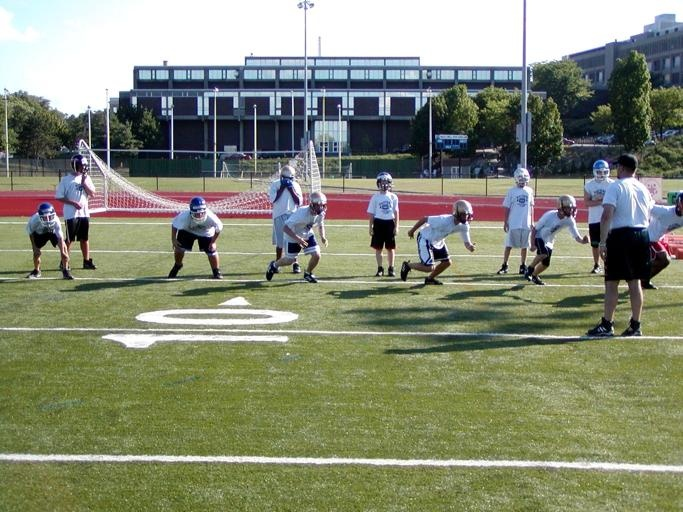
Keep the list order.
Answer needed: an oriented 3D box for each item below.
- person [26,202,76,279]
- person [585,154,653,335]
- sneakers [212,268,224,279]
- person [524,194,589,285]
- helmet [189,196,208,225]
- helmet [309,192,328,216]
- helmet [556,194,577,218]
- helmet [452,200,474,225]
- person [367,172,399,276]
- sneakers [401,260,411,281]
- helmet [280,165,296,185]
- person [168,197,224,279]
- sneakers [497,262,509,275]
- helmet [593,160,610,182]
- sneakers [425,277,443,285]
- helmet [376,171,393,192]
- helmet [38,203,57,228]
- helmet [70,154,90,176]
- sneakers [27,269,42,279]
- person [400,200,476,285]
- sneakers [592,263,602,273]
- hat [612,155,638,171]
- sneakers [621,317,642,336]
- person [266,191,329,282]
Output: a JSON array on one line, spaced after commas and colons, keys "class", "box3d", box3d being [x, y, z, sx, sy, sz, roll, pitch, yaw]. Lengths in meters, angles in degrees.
[{"class": "person", "box3d": [-4.474, -0.230, 14.168, 0.665, 1.145, 1.371, -1, 4, -19]}, {"class": "person", "box3d": [3.247, -0.119, 10.768, 0.627, 2.122, 0.812, 2, 4, 20]}, {"class": "sneakers", "box3d": [-1.929, 0.290, 14.320, 0.083, 0.112, 0.246, 0, -3, -21]}, {"class": "person", "box3d": [3.192, -0.236, 14.027, 0.802, 1.338, 0.620, 1, 4, 11]}, {"class": "helmet", "box3d": [-2.109, -0.690, 13.477, 0.254, 0.339, 0.336, -2, -36, -11]}, {"class": "helmet", "box3d": [-0.361, -0.760, 13.667, 0.234, 0.339, 0.562, 0, 4, -2]}, {"class": "helmet", "box3d": [3.358, -0.725, 13.851, 0.326, 0.343, 0.266, 0, 6, 22]}, {"class": "helmet", "box3d": [1.721, -0.621, 13.415, 0.255, 0.342, 0.329, -6, 12, -37]}, {"class": "person", "box3d": [0.639, -0.481, 14.585, 0.434, 1.620, 0.627, 1, 4, 1]}, {"class": "sneakers", "box3d": [0.949, 0.249, 14.058, 0.109, 0.335, 0.141, 0, 19, -4]}, {"class": "helmet", "box3d": [-0.905, -1.274, 14.806, 0.301, 0.314, 0.244, 6, 13, 32]}, {"class": "person", "box3d": [-2.181, -0.272, 13.999, 0.817, 1.267, 0.706, 6, 17, 16]}, {"class": "sneakers", "box3d": [2.623, 0.221, 15.175, 0.104, 0.218, 0.305, 5, 21, -3]}, {"class": "helmet", "box3d": [4.006, -1.322, 14.437, 0.277, 0.347, 0.353, -5, 14, -14]}, {"class": "sneakers", "box3d": [1.395, 0.382, 14.021, 0.294, 0.130, 0.110, 1, 4, 1]}, {"class": "helmet", "box3d": [0.647, -1.158, 14.444, 0.281, 0.326, 0.375, 0, -5, -1]}, {"class": "helmet", "box3d": [-4.340, -0.594, 13.575, 0.231, 0.306, 0.328, 0, 42, -33]}, {"class": "helmet", "box3d": [-4.205, -1.449, 14.824, 0.371, 0.379, 0.290, -12, 22, -43]}, {"class": "sneakers", "box3d": [-4.693, 0.287, 14.141, 0.096, 0.124, 0.268, 8, 1, -8]}, {"class": "person", "box3d": [1.393, -0.188, 13.824, 0.827, 1.261, 1.302, 0, 4, -17]}, {"class": "sneakers", "box3d": [4.167, 0.227, 15.188, 0.090, 0.127, 0.277, -2, -1, 23]}, {"class": "hat", "box3d": [3.299, -1.083, 10.825, 0.201, 0.149, 0.282, 7, 13, -7]}, {"class": "sneakers", "box3d": [3.385, 0.847, 10.787, 0.117, 0.236, 0.337, 1, 5, -21]}, {"class": "person", "box3d": [-0.683, -0.281, 14.047, 0.782, 1.352, 1.309, 0, 4, -4]}]
